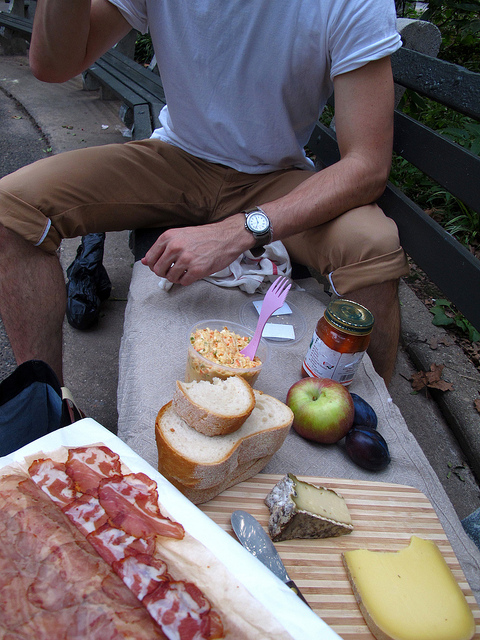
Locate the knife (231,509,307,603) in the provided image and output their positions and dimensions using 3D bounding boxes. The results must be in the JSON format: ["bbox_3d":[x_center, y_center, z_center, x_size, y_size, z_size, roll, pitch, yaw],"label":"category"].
[{"bbox_3d":[0.030,0.392,0.868,0.051,0.018,0.150,-5,34,-29],"label":"knife"}]

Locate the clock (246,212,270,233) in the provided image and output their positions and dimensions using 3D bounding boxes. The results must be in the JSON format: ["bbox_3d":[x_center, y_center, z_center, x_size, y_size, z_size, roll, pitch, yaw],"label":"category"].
[{"bbox_3d":[0.058,-0.323,1.674,0.053,0.071,0.080,-12,80,-19],"label":"clock"}]

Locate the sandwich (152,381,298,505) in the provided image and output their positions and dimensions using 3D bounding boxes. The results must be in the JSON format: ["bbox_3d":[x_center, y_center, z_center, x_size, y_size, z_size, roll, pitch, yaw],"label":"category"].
[{"bbox_3d":[-0.031,0.248,0.978,0.283,0.145,0.166,-13,24,-40],"label":"sandwich"}]
